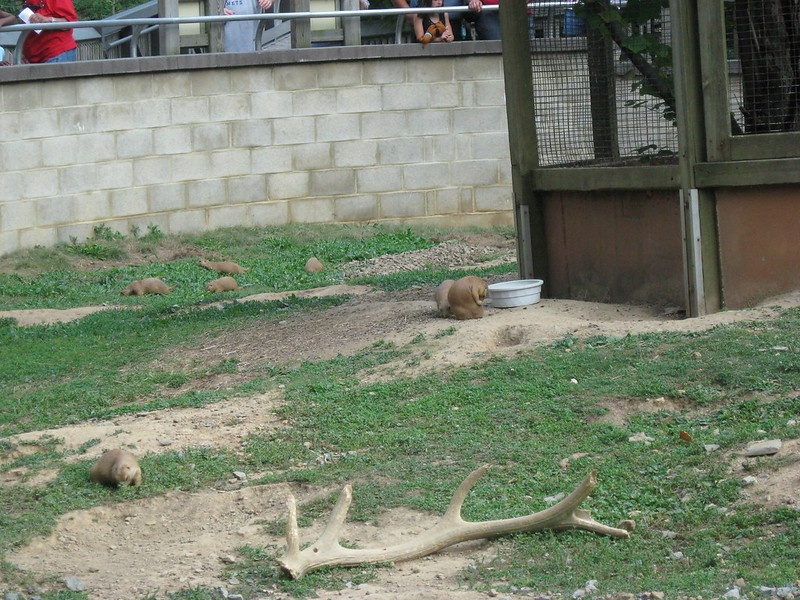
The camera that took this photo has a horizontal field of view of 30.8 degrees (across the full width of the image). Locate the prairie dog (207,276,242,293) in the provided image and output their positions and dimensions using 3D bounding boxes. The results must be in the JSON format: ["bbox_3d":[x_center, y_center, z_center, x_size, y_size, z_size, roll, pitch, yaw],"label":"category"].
[{"bbox_3d":[-2.083,-0.193,17.247,0.358,0.184,0.177,3,5,8],"label":"prairie dog"}]

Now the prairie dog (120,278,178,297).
[{"bbox_3d":[-2.990,-0.163,17.437,0.675,0.255,0.207,0,3,1],"label":"prairie dog"}]

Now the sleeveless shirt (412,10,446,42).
[{"bbox_3d":[0.429,-4.216,22.214,0.504,0.232,0.517,4,-21,7],"label":"sleeveless shirt"}]

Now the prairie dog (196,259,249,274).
[{"bbox_3d":[-2.236,-0.433,18.443,0.667,0.159,0.307,-1,9,13],"label":"prairie dog"}]

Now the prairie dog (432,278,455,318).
[{"bbox_3d":[0.408,-0.023,14.012,0.192,0.343,0.180,-5,-2,-4],"label":"prairie dog"}]

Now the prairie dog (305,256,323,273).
[{"bbox_3d":[-1.084,-0.429,18.154,0.172,0.098,0.203,-7,35,-10],"label":"prairie dog"}]

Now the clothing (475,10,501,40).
[{"bbox_3d":[1.339,-4.315,22.630,0.365,0.443,0.507,-3,8,1],"label":"clothing"}]

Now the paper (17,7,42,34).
[{"bbox_3d":[-5.058,-3.887,19.952,0.279,0.379,0.498,-6,9,-19],"label":"paper"}]

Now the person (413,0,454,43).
[{"bbox_3d":[0.503,-4.295,22.231,0.538,0.818,0.801,-5,11,-10],"label":"person"}]

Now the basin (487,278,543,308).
[{"bbox_3d":[1.059,-0.059,14.054,0.351,0.133,0.328,-13,7,2],"label":"basin"}]

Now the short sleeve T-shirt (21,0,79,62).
[{"bbox_3d":[-4.841,-3.740,20.029,0.946,1.060,0.624,1,2,7],"label":"short sleeve T-shirt"}]

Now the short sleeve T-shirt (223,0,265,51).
[{"bbox_3d":[-2.372,-4.303,22.529,0.650,0.827,1.712,-3,8,3],"label":"short sleeve T-shirt"}]
